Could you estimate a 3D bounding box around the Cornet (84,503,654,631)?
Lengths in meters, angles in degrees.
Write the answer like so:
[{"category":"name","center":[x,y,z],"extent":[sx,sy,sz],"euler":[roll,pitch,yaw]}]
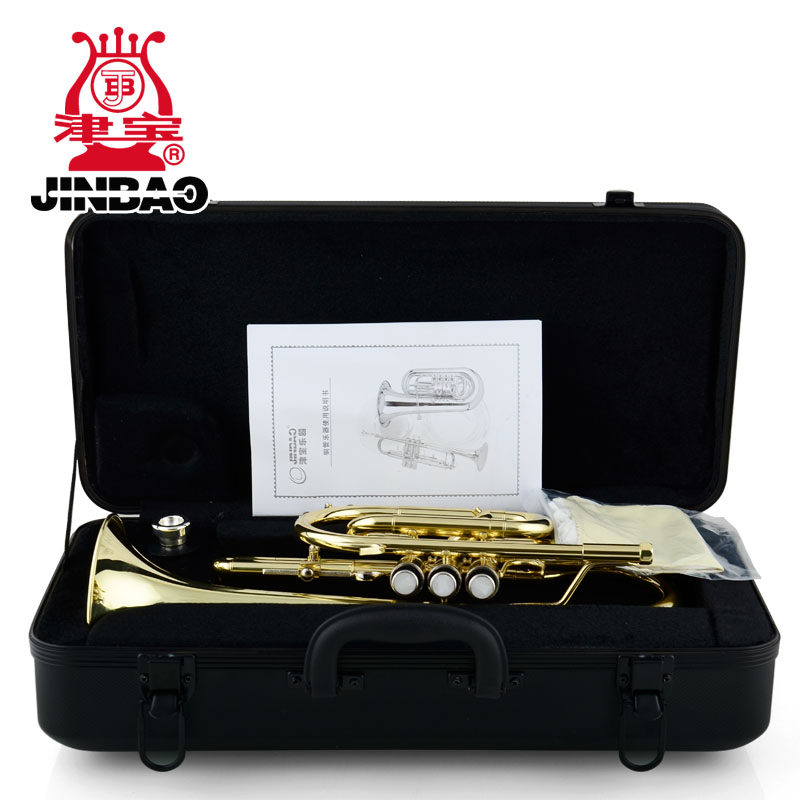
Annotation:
[{"category":"Cornet","center":[-0.043,0.356,2.406],"extent":[1.410,0.296,0.433],"euler":[1,-18,2]}]
